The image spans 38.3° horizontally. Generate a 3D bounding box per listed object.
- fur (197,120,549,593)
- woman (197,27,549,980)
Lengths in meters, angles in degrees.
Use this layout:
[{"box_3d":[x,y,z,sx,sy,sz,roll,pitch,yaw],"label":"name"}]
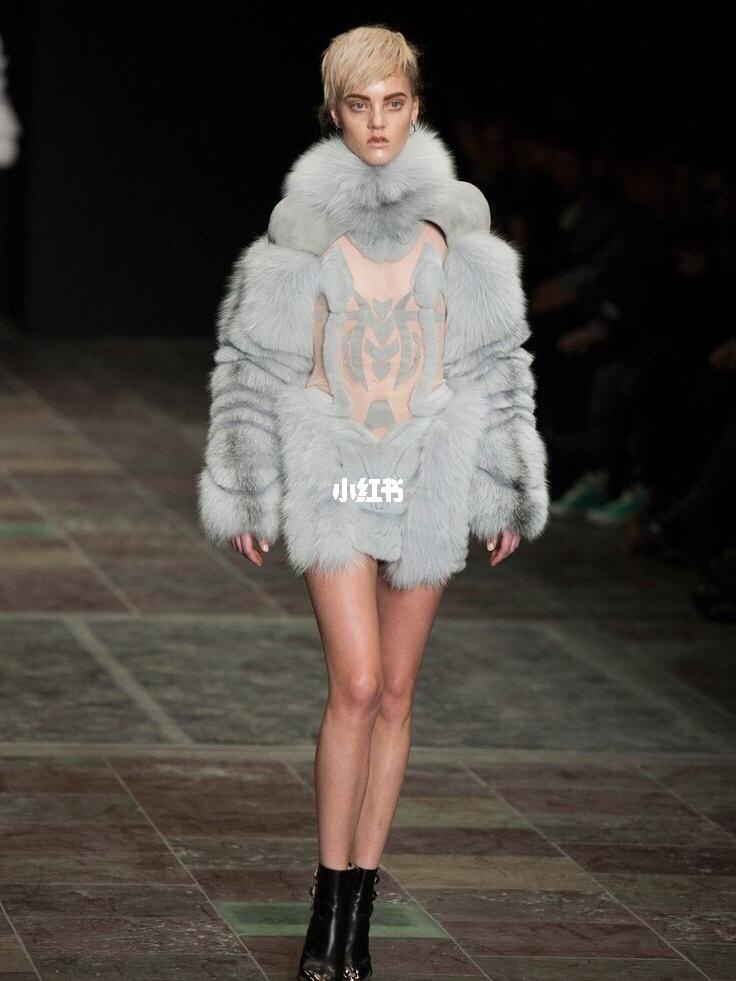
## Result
[{"box_3d":[0.014,-0.186,1.676,0.777,0.667,0.237,1,-3,-6],"label":"fur"},{"box_3d":[-0.016,0.037,1.812,0.457,1.572,0.444,10,5,39],"label":"woman"}]
